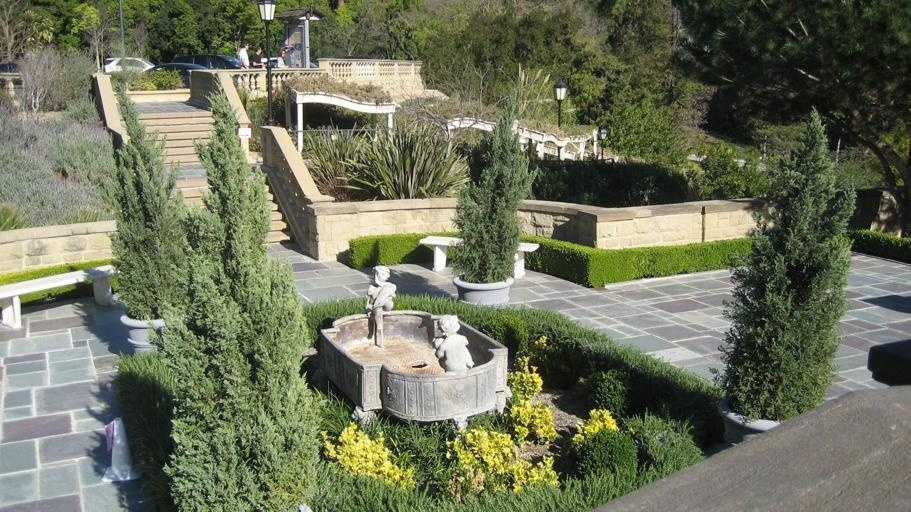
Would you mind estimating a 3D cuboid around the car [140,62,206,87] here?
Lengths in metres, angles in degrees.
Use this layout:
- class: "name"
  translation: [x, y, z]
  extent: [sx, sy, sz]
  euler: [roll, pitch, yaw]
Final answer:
- class: "car"
  translation: [-13.603, -8.827, 34.503]
  extent: [1.821, 1.069, 3.455]
  euler: [-3, 16, -16]

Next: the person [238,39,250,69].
- class: "person"
  translation: [-9.692, -9.159, 32.299]
  extent: [0.363, 1.084, 3.727]
  euler: [-3, 17, -17]

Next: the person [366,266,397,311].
- class: "person"
  translation: [-1.348, 0.567, 12.379]
  extent: [0.480, 0.865, 0.367]
  euler: [-1, 15, -8]
